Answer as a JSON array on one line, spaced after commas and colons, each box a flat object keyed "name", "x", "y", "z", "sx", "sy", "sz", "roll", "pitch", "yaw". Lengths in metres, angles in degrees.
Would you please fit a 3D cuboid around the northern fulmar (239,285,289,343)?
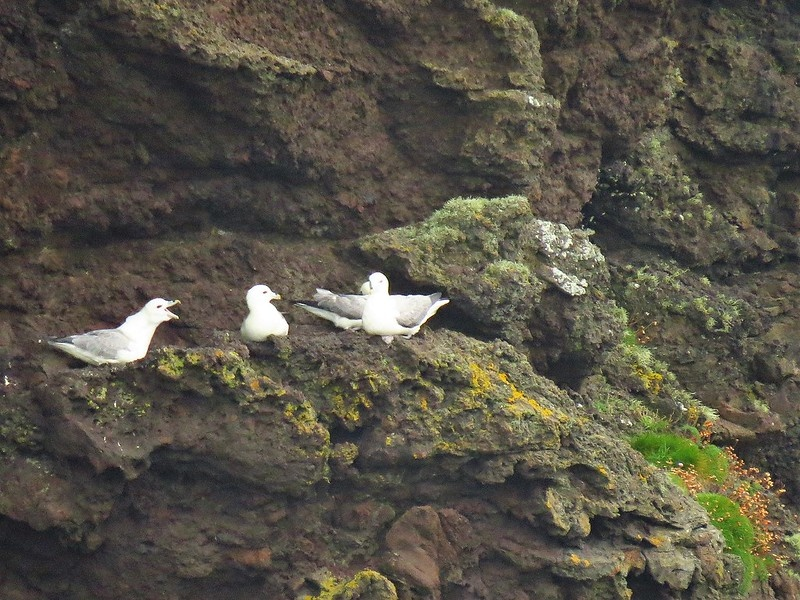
[{"name": "northern fulmar", "x": -1.960, "y": 0.261, "z": 36.139, "sx": 0.581, "sy": 0.801, "sz": 0.786, "roll": 11, "pitch": 16, "yaw": -33}]

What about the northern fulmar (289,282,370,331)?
[{"name": "northern fulmar", "x": -1.167, "y": 0.135, "z": 37.032, "sx": 1.479, "sy": 0.862, "sz": 0.520, "roll": 6, "pitch": -6, "yaw": 13}]
